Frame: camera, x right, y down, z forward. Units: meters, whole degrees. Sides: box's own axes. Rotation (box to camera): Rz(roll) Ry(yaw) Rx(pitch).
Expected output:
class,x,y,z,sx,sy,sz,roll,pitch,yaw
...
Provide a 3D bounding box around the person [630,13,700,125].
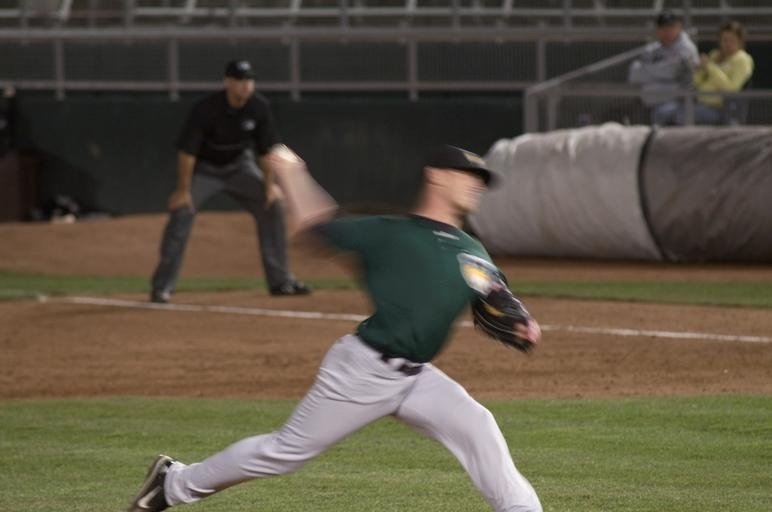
class,x,y,z,sx,sy,sz,roll,pitch,yaw
person,2.642,-1.734,15.742,0.651,1.042,0.485,7,10,11

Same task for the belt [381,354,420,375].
class,x,y,z,sx,sy,sz,roll,pitch,yaw
belt,0.126,0.798,11.978,0.157,0.080,0.209,22,8,-22
